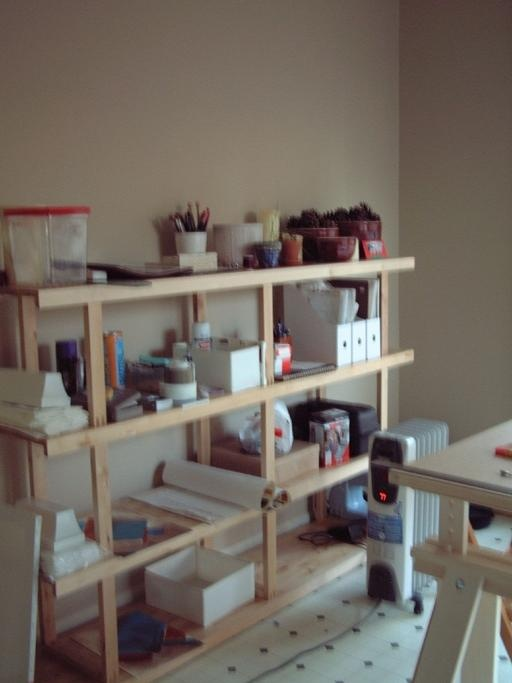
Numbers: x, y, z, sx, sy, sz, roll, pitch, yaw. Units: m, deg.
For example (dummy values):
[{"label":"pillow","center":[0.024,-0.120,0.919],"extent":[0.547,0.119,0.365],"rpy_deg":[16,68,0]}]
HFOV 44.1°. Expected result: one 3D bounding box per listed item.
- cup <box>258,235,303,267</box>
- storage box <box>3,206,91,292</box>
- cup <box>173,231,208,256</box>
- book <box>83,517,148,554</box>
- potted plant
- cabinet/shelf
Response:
[{"label":"cup","center":[0.071,-0.296,2.105],"extent":[0.165,0.114,0.113],"rpy_deg":[-3,7,-34]},{"label":"storage box","center":[-0.456,-0.205,1.497],"extent":[0.198,0.215,0.196],"rpy_deg":[3,6,36]},{"label":"cup","center":[-0.196,-0.296,1.890],"extent":[0.083,0.062,0.087],"rpy_deg":[0,11,0]},{"label":"book","center":[-0.344,0.512,1.675],"extent":[0.113,0.014,0.100],"rpy_deg":[11,11,43]},{"label":"potted plant","center":[0.307,-0.378,2.290],"extent":[0.231,0.099,0.296],"rpy_deg":[3,6,45]},{"label":"cabinet/shelf","center":[-0.149,0.377,1.828],"extent":[0.248,0.741,1.209],"rpy_deg":[5,10,34]}]
